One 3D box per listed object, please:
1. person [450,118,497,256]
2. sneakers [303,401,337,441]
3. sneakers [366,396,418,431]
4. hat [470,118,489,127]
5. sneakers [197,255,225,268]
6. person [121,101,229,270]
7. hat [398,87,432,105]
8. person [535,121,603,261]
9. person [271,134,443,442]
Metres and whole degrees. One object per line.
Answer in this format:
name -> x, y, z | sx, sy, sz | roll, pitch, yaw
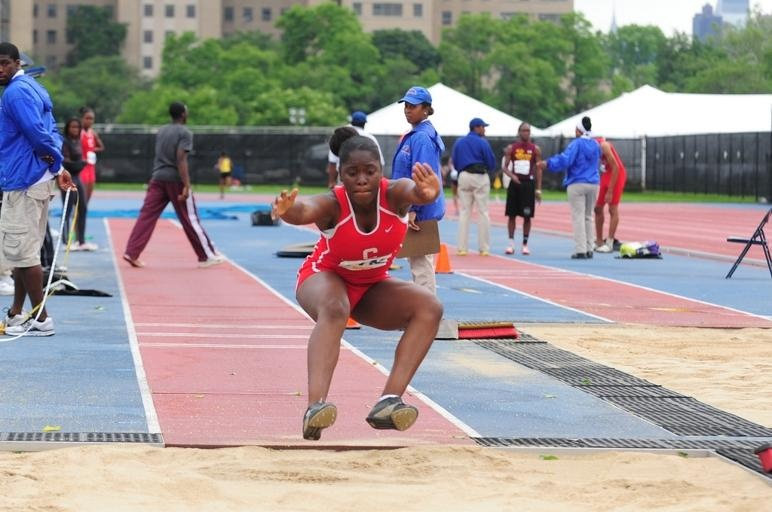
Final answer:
person -> 1.466, -1.144, 20.035 | 0.703, 2.330, 0.955 | 2, 6, 3
sneakers -> -0.548, 1.376, 9.940 | 0.261, 0.335, 0.227 | 1, 6, -4
sneakers -> 0.052, 1.333, 10.028 | 0.571, 0.183, 0.232 | 0, 28, 1
hat -> 1.544, -2.188, 19.552 | 0.280, 0.103, 0.153 | 1, 9, -5
sneakers -> -2.668, 0.069, 18.329 | 0.446, 0.144, 0.132 | -11, 27, -2
person -> -3.230, -1.093, 18.169 | 1.414, 2.535, 0.972 | 1, 6, -8
hat -> 0.362, -1.798, 13.408 | 0.347, 0.128, 0.214 | 0, 4, -20
person -> 3.282, -1.121, 20.780 | 0.913, 2.309, 0.945 | 3, 6, 13
person -> -0.183, 0.109, 10.224 | 1.375, 2.260, 0.854 | 2, 6, -3
